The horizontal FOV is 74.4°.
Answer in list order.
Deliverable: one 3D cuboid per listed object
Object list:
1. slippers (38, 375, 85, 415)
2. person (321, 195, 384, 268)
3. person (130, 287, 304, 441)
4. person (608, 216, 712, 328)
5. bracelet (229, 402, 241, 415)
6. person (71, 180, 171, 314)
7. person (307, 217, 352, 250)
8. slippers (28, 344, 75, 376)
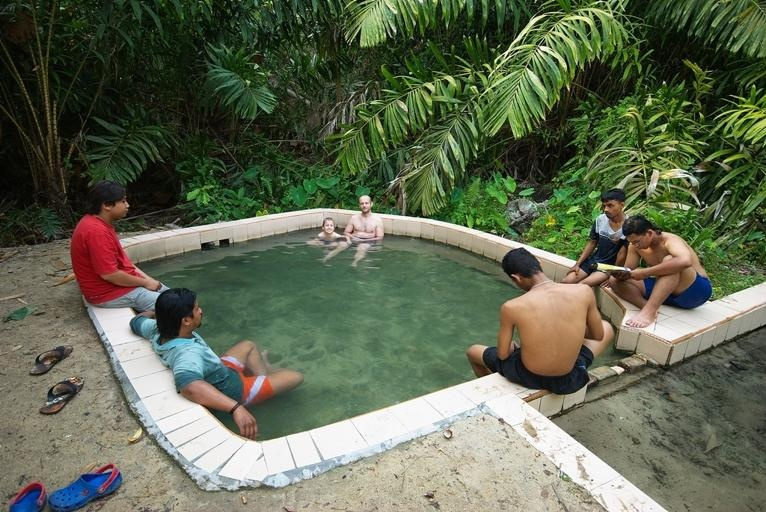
[{"bbox_3d":[-3.037,1.296,4.735,0.249,0.068,0.436,17,39,13],"label":"slippers"},{"bbox_3d":[-0.460,-0.458,8.552,0.696,1.139,1.519,8,13,16],"label":"person"},{"bbox_3d":[-1.732,0.874,4.832,1.693,0.931,0.796,22,39,19],"label":"person"},{"bbox_3d":[3.216,0.109,5.894,1.122,1.258,0.912,-10,5,-13],"label":"person"},{"bbox_3d":[-1.339,1.369,4.558,0.025,0.099,0.092,35,1,0],"label":"bracelet"},{"bbox_3d":[-3.034,-0.071,5.651,0.844,1.371,0.564,4,36,-2],"label":"person"},{"bbox_3d":[-0.944,-0.601,8.843,0.835,0.760,0.492,0,7,-12],"label":"person"},{"bbox_3d":[-3.372,1.041,5.096,0.159,0.102,0.367,14,26,7],"label":"slippers"}]
